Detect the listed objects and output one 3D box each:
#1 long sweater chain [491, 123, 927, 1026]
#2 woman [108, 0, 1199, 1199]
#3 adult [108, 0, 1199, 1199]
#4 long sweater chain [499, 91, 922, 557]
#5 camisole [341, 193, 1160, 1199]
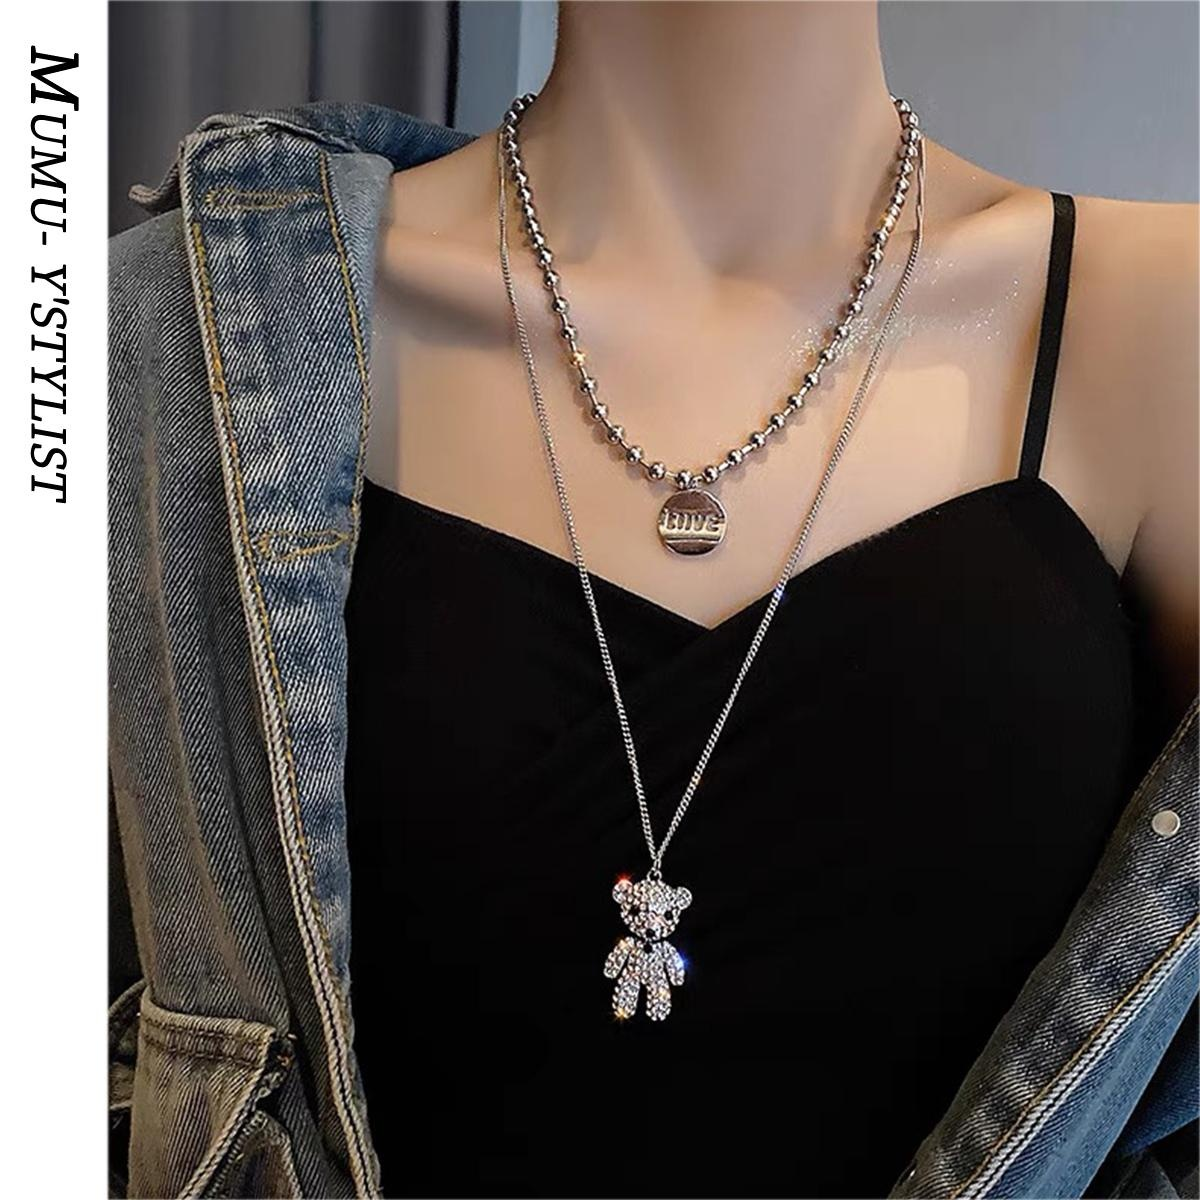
[{"bbox_3d":[0.075,0.048,1.187,0.252,0.696,0.039,-19,-55,25],"label":"long sweater chain"},{"bbox_3d":[0.058,0.029,1.026,0.677,1.236,0.454,1,-3,-1],"label":"woman"},{"bbox_3d":[0.058,0.029,1.026,0.677,1.236,0.454,1,-3,-1],"label":"adult"},{"bbox_3d":[0.079,-0.224,1.078,0.300,0.021,0.492,-2,-43,-3],"label":"long sweater chain"},{"bbox_3d":[0.111,0.078,1.211,0.512,1.018,0.462,1,-3,5],"label":"camisole"}]
